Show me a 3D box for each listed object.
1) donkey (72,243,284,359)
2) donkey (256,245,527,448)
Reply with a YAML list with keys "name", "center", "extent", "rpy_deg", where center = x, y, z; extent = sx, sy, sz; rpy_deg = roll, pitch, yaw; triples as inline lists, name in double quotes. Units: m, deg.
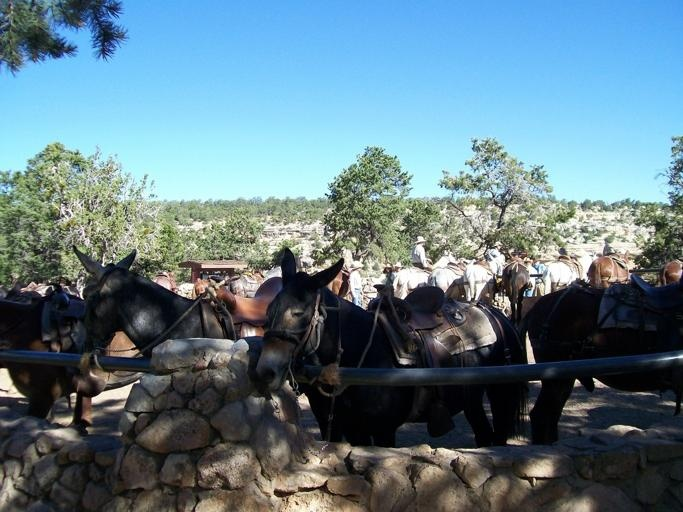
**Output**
- name: "donkey"
  center: [-1.655, 0.453, 5.168]
  extent: [1.715, 0.973, 0.808]
  rpy_deg: [4, 2, -27]
- name: "donkey"
  center: [0.508, 0.893, 4.636]
  extent: [3.111, 1.305, 0.964]
  rpy_deg: [3, 2, -44]
